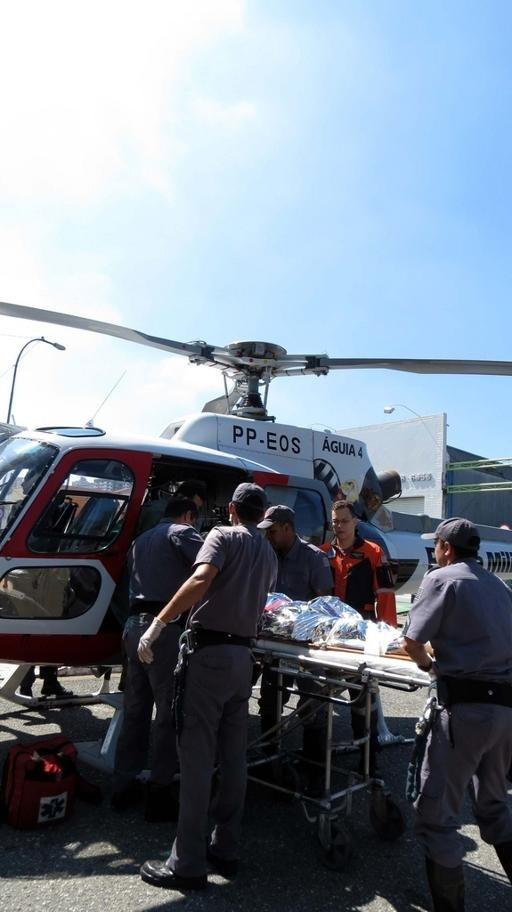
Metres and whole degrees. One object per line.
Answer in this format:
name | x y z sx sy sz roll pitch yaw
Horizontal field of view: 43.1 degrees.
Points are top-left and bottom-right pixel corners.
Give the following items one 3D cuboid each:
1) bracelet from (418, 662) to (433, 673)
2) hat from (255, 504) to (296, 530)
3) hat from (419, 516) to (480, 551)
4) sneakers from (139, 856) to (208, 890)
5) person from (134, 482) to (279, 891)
bracelet | 0.703 0.871 2.689 0.049 0.072 0.025 -4 24 10
hat | 0.136 0.372 3.993 0.192 0.114 0.123 4 -8 -19
hat | 0.888 0.344 2.934 0.122 0.096 0.172 2 -2 -37
sneakers | -0.359 1.780 2.842 0.257 0.118 0.115 14 -11 15
person | -0.226 1.051 3.043 0.393 1.820 0.677 1 1 29
